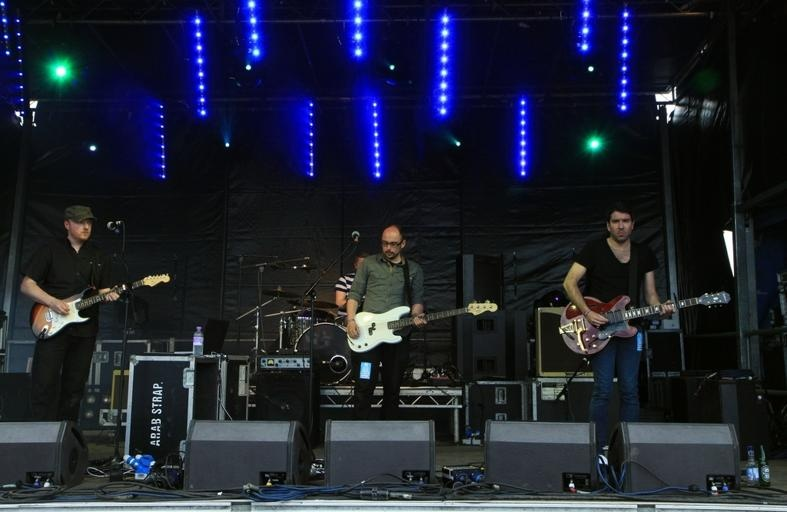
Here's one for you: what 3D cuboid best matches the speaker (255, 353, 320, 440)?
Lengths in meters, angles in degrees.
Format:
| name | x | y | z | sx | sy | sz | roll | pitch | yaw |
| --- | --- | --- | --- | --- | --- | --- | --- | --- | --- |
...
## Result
| name | x | y | z | sx | sy | sz | roll | pitch | yaw |
| --- | --- | --- | --- | --- | --- | --- | --- | --- | --- |
| speaker | -1.253 | 1.581 | 8.861 | 0.786 | 1.017 | 0.749 | 0 | -8 | -3 |

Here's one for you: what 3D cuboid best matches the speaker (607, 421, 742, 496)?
| name | x | y | z | sx | sy | sz | roll | pitch | yaw |
| --- | --- | --- | --- | --- | --- | --- | --- | --- | --- |
| speaker | 2.267 | 1.584 | 6.693 | 0.917 | 0.533 | 0.661 | -1 | -3 | 3 |

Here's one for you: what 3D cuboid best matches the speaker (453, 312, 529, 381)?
| name | x | y | z | sx | sy | sz | roll | pitch | yaw |
| --- | --- | --- | --- | --- | --- | --- | --- | --- | --- |
| speaker | 1.123 | 1.072 | 9.857 | 0.833 | 0.789 | 0.812 | 1 | -7 | 0 |

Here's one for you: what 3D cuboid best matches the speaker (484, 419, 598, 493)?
| name | x | y | z | sx | sy | sz | roll | pitch | yaw |
| --- | --- | --- | --- | --- | --- | --- | --- | --- | --- |
| speaker | 1.226 | 1.594 | 6.721 | 0.884 | 0.545 | 0.488 | -2 | -3 | 17 |

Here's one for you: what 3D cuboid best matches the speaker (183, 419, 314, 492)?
| name | x | y | z | sx | sy | sz | roll | pitch | yaw |
| --- | --- | --- | --- | --- | --- | --- | --- | --- | --- |
| speaker | -1.203 | 1.598 | 6.579 | 0.845 | 0.502 | 0.567 | 0 | -6 | 2 |

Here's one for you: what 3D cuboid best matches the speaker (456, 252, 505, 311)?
| name | x | y | z | sx | sy | sz | roll | pitch | yaw |
| --- | --- | --- | --- | --- | --- | --- | --- | --- | --- |
| speaker | 1.023 | 0.322 | 9.929 | 0.548 | 0.850 | 0.307 | 12 | -16 | -35 |

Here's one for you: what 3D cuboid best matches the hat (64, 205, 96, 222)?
| name | x | y | z | sx | sy | sz | roll | pitch | yaw |
| --- | --- | --- | --- | --- | --- | --- | --- | --- | --- |
| hat | -3.114 | -0.405 | 8.067 | 0.240 | 0.119 | 0.337 | 0 | 1 | -42 |

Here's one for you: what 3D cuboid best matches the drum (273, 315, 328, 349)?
| name | x | y | z | sx | sy | sz | roll | pitch | yaw |
| --- | --- | --- | --- | --- | --- | --- | --- | --- | --- |
| drum | -1.137 | 0.910 | 10.190 | 0.477 | 0.483 | 0.510 | -1 | 0 | -19 |

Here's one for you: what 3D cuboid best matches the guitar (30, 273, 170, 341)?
| name | x | y | z | sx | sy | sz | roll | pitch | yaw |
| --- | --- | --- | --- | --- | --- | --- | --- | --- | --- |
| guitar | -2.877 | 0.458 | 7.834 | 1.041 | 0.661 | 0.316 | 4 | -18 | -17 |
